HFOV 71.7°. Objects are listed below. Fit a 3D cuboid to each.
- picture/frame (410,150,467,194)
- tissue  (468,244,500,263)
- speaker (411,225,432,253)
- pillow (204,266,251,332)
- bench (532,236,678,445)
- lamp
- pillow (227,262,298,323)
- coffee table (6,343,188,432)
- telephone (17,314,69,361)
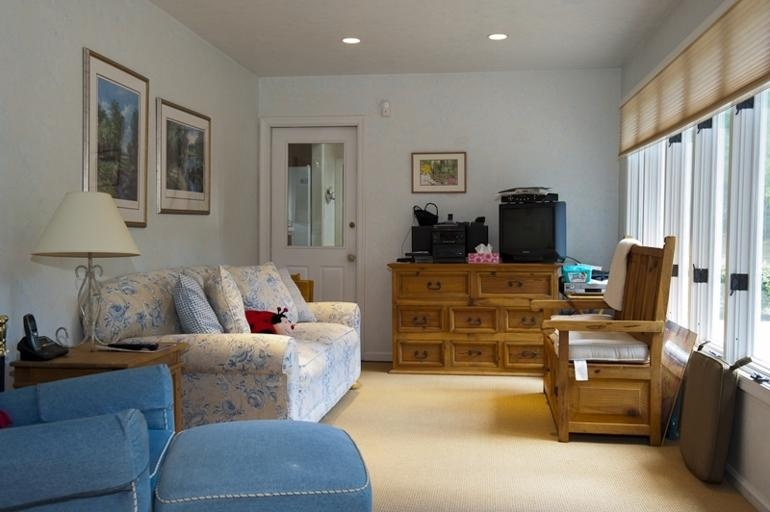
[{"bbox_3d":[0.586,-0.875,5.545,0.455,0.339,0.035,0,3,8],"label":"picture/frame"},{"bbox_3d":[0.963,-0.001,5.189,0.220,0.137,0.208,0,-2,4],"label":"tissue "},{"bbox_3d":[0.371,-0.162,5.316,0.196,0.259,0.139,0,7,4],"label":"speaker"},{"bbox_3d":[-1.112,0.323,3.809,0.268,0.487,0.562,7,4,-16],"label":"pillow"},{"bbox_3d":[1.504,0.684,4.514,1.137,2.026,2.074,0,-1,10],"label":"bench"},{"bbox_3d":[-1.795,0.098,3.247,0.564,0.866,0.553,4,7,4],"label":"lamp"},{"bbox_3d":[-0.977,0.269,4.240,0.151,0.450,0.494,-27,-18,27],"label":"pillow"},{"bbox_3d":[-1.628,0.570,3.143,0.784,0.731,0.626,-1,-3,4],"label":"coffee table"},{"bbox_3d":[-1.920,0.455,2.998,0.220,0.235,0.214,5,3,11],"label":"telephone"}]
